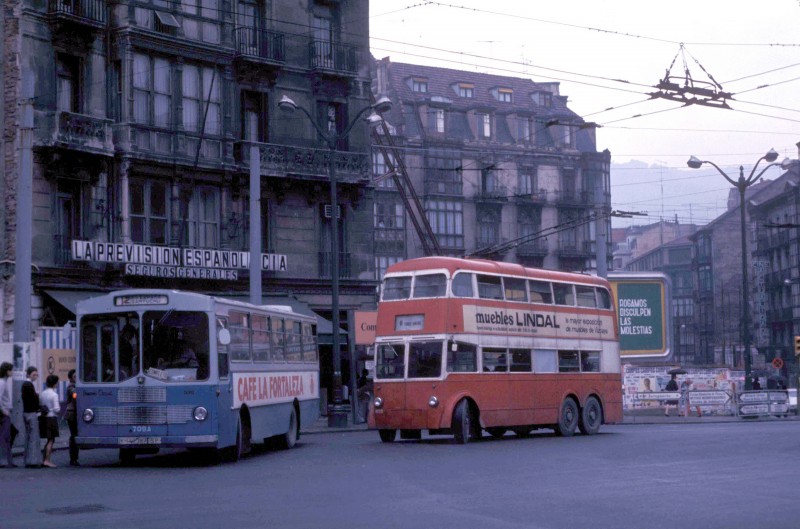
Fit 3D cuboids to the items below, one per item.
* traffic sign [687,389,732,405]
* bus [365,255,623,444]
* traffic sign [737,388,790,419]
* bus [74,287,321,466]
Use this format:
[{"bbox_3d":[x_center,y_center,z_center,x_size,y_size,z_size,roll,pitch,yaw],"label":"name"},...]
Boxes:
[{"bbox_3d":[14.451,6.251,56.816,2.276,0.708,0.494,2,-10,-26],"label":"traffic sign"},{"bbox_3d":[3.772,3.013,42.688,3.867,5.803,11.206,-4,-7,39],"label":"bus"},{"bbox_3d":[16.679,6.373,55.654,2.893,1.244,0.575,3,-10,-29],"label":"traffic sign"},{"bbox_3d":[-5.516,3.649,37.870,5.042,4.887,10.231,-7,-11,27],"label":"bus"}]
